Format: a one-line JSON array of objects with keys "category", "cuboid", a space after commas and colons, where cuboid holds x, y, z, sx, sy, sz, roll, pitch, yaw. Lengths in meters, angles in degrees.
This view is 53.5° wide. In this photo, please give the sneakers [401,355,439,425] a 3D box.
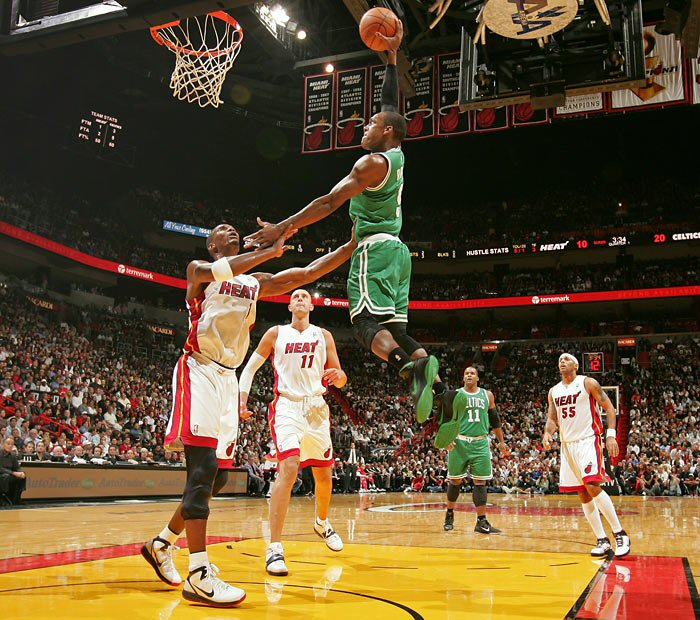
[{"category": "sneakers", "cuboid": [0.497, 0.525, 4.932, 0.172, 0.583, 0.227, -10, 13, -25]}]

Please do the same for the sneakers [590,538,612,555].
[{"category": "sneakers", "cuboid": [2.332, 2.198, 6.430, 0.107, 0.159, 0.332, -12, -27, 23]}]

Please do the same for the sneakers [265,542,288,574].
[{"category": "sneakers", "cuboid": [-0.559, 1.883, 5.273, 0.157, 0.236, 0.214, 3, -17, -6]}]

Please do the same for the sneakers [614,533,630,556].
[{"category": "sneakers", "cuboid": [2.512, 2.151, 6.407, 0.137, 0.221, 0.393, -5, -18, 19]}]

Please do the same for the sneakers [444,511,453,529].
[{"category": "sneakers", "cuboid": [1.228, 2.601, 8.661, 0.114, 0.266, 0.442, -1, -18, 6]}]

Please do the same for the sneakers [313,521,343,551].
[{"category": "sneakers", "cuboid": [-0.194, 2.000, 6.351, 0.142, 0.189, 0.404, -24, 20, -22]}]

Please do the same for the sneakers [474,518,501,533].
[{"category": "sneakers", "cuboid": [1.672, 2.581, 8.332, 0.352, 0.260, 0.128, 0, -11, 7]}]

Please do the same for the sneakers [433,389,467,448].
[{"category": "sneakers", "cuboid": [0.722, 0.778, 5.131, 0.164, 0.513, 0.218, 11, 12, -14]}]
